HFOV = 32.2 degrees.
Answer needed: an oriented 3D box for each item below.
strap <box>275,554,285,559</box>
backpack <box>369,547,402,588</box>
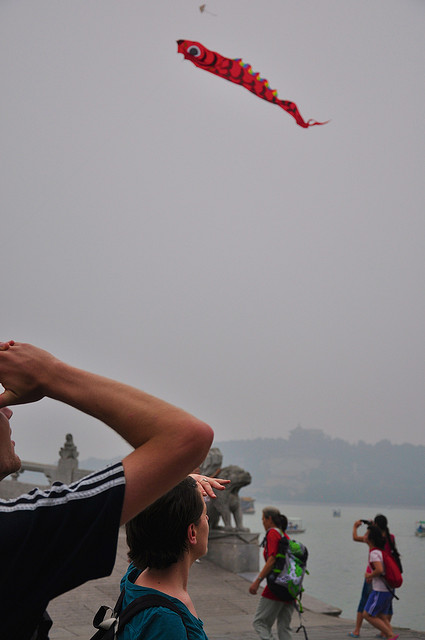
[{"bbox_3d":[0.477,1.664,5.157,0.055,0.015,0.032,8,-5,-10],"label":"strap"},{"bbox_3d":[1.487,2.166,6.396,0.214,0.318,0.238,-19,-14,5],"label":"backpack"}]
